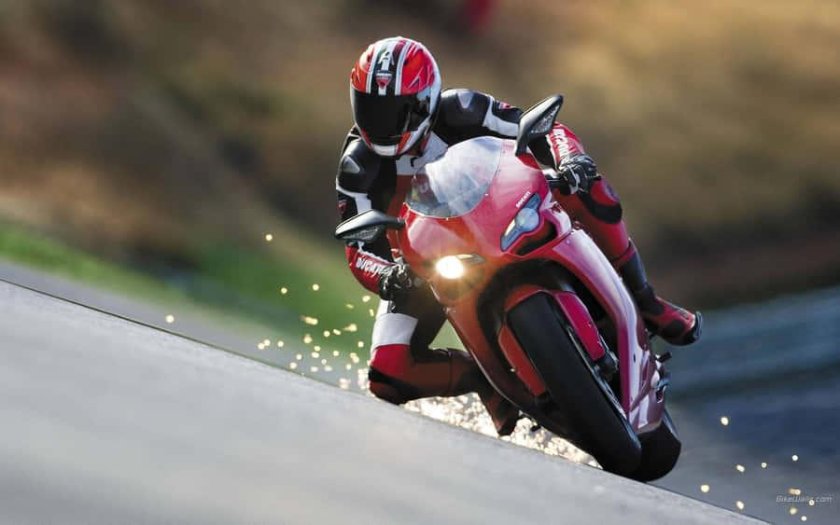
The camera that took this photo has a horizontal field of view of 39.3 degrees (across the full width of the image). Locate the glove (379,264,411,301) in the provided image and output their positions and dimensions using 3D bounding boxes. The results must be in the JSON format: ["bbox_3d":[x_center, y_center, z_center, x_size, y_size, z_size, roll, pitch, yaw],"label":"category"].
[{"bbox_3d":[-0.184,0.134,8.400,0.128,0.202,0.264,48,-25,-12],"label":"glove"}]

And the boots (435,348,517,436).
[{"bbox_3d":[0.407,0.934,8.723,0.847,0.229,0.356,42,-5,11],"label":"boots"}]
